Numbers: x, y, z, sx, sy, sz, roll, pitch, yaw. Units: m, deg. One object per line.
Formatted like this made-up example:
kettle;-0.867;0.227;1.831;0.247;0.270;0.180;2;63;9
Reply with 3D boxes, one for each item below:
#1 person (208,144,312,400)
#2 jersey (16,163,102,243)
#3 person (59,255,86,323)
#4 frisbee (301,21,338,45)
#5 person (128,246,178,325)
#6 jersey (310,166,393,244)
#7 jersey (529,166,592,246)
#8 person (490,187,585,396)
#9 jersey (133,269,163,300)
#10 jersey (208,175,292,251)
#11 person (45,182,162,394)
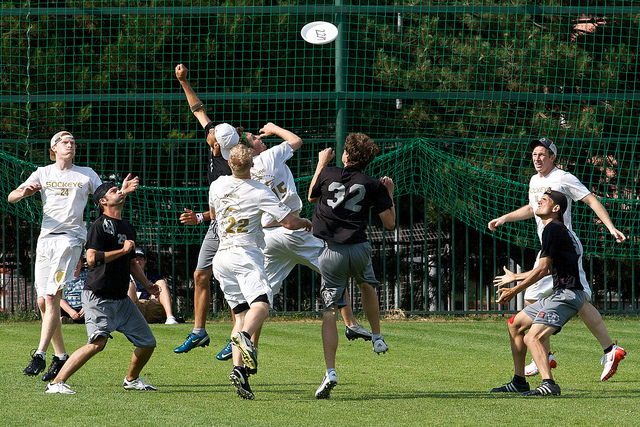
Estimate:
person;-0.779;0.445;8.815;0.822;2.351;0.590;-4;-6;41
jersey;-3.239;-0.124;10.260;1.135;1.010;0.456;4;2;-23
person;-3.996;1.236;13.112;0.503;0.790;0.452;-13;47;-31
frisbee;-0.045;-2.907;13.079;0.601;0.454;0.384;0;-5;12
person;-2.884;1.201;13.671;0.714;1.323;0.962;-6;-6;-16
jersey;0.334;-0.081;9.405;1.034;0.913;0.723;10;0;18
jersey;2.943;-0.072;10.411;0.479;1.051;0.802;-14;12;-42
person;2.458;1.030;9.158;0.986;1.934;0.539;0;-5;11
jersey;-2.917;1.205;13.801;0.561;0.550;0.179;3;14;20
jersey;-0.873;0.014;9.027;1.012;0.856;0.567;8;15;23
person;-2.324;0.776;8.987;1.105;2.284;0.675;2;-5;-16
